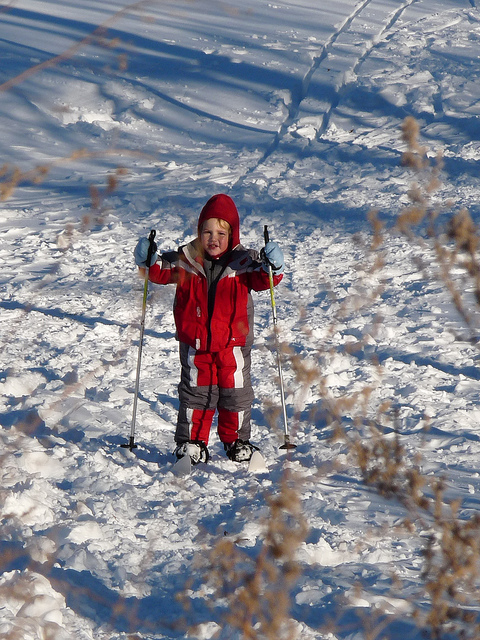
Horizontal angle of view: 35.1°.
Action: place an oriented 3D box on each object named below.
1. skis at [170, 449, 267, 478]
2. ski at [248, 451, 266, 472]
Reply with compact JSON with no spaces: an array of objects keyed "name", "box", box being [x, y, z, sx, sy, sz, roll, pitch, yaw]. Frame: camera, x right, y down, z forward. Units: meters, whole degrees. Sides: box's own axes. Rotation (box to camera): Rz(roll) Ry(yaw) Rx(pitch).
[{"name":"skis","box":[-0.119,0.796,4.217,0.520,0.110,0.126,5,3,-6]},{"name":"ski","box":[0.089,0.785,4.216,0.093,0.087,0.027,-3,-18,-4]}]
